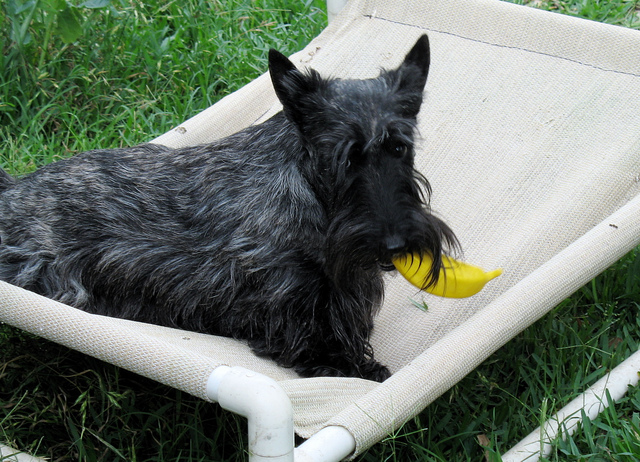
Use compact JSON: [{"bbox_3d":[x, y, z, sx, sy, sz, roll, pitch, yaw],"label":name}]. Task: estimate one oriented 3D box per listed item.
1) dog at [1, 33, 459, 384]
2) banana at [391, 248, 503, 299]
[{"bbox_3d":[-0.305,-0.074,2.399,1.568,1.003,0.898,9,54,4],"label":"dog"},{"bbox_3d":[0.488,0.153,2.445,0.359,0.140,0.087,18,13,-24],"label":"banana"}]
